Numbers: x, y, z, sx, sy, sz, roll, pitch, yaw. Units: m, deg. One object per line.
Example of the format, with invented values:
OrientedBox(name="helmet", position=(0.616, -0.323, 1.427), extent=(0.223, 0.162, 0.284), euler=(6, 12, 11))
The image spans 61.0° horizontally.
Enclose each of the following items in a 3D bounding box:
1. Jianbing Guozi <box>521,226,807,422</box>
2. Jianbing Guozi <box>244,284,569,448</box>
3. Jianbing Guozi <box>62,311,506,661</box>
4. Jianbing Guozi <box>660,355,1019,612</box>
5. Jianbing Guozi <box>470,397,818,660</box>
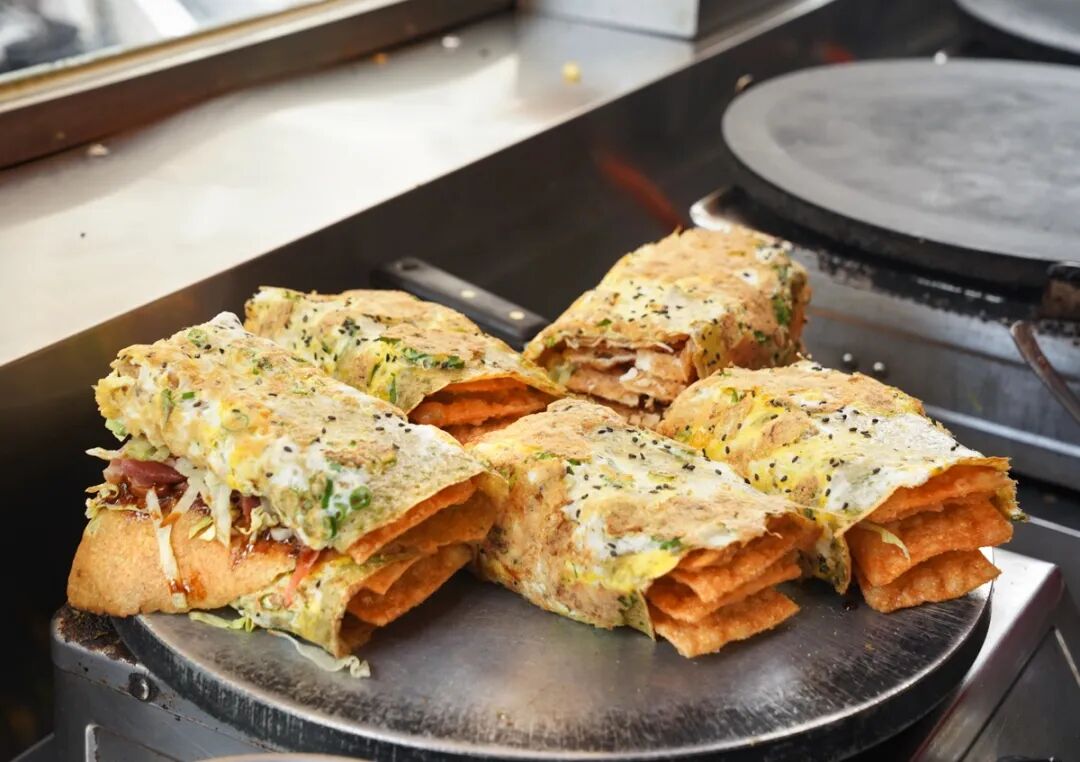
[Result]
OrientedBox(name="Jianbing Guozi", position=(0.281, -0.113, 1.876), extent=(0.388, 0.215, 0.521), euler=(20, 39, 41))
OrientedBox(name="Jianbing Guozi", position=(-0.285, -0.075, 1.674), extent=(0.479, 0.129, 0.291), euler=(25, 37, 29))
OrientedBox(name="Jianbing Guozi", position=(-0.417, 0.099, 1.484), extent=(0.674, 0.249, 0.566), euler=(12, 33, -25))
OrientedBox(name="Jianbing Guozi", position=(0.495, 0.112, 1.572), extent=(0.353, 0.170, 0.508), euler=(-18, 31, -25))
OrientedBox(name="Jianbing Guozi", position=(0.146, 0.202, 1.483), extent=(0.388, 0.187, 0.544), euler=(-19, 26, -35))
